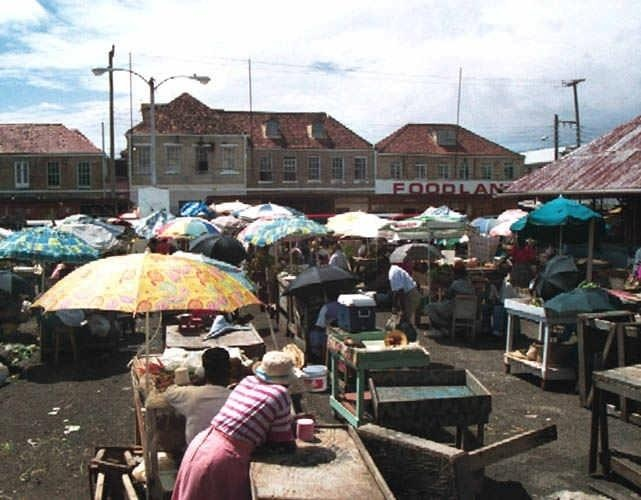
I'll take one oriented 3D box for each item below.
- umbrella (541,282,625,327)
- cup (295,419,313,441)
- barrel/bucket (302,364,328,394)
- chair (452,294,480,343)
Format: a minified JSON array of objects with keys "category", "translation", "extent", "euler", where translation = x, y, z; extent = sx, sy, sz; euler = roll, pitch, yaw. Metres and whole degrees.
[{"category":"umbrella","translation":[3.969,0.829,10.745],"extent":[0.756,0.325,0.756],"euler":[-10,18,-2]},{"category":"cup","translation":[-0.171,2.025,7.777],"extent":[0.207,0.200,0.206],"euler":[0,-6,0]},{"category":"barrel/bucket","translation":[-0.121,2.052,10.943],"extent":[0.414,0.301,0.412],"euler":[0,-1,0]},{"category":"chair","translation":[2.984,1.396,14.534],"extent":[0.559,0.959,0.711],"euler":[1,3,15]}]
